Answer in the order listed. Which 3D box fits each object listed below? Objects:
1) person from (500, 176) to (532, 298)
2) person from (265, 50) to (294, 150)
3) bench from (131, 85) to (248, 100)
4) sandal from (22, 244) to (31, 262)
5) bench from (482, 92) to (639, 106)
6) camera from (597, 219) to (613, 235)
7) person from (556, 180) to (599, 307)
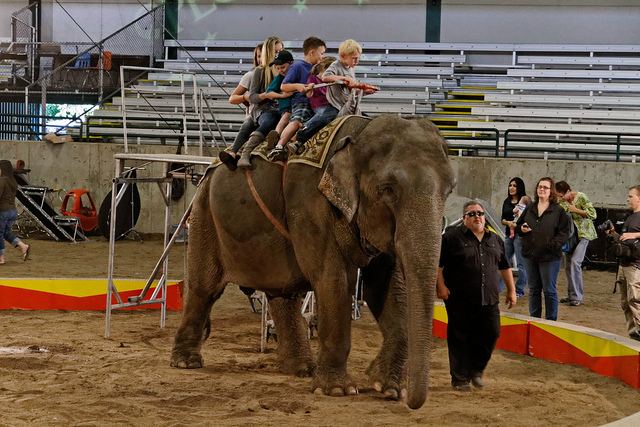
[{"bbox_3d":[4.862,0.564,25.775,0.875,3.203,1.204,1,1,19],"label":"person"},{"bbox_3d":[-0.774,-2.281,20.992,0.788,2.030,1.007,7,14,28],"label":"person"},{"bbox_3d":[-4.360,-3.950,33.692,2.303,0.466,0.414,0,3,0],"label":"bench"},{"bbox_3d":[-7.981,1.030,27.927,0.138,0.526,0.189,16,4,3],"label":"sandal"},{"bbox_3d":[8.239,-3.877,35.255,9.457,0.421,0.562,6,14,39],"label":"bench"},{"bbox_3d":[7.151,0.305,25.814,0.354,0.349,0.135,28,-4,-38],"label":"camera"},{"bbox_3d":[6.246,0.559,25.053,1.128,3.403,0.695,2,1,25],"label":"person"}]
